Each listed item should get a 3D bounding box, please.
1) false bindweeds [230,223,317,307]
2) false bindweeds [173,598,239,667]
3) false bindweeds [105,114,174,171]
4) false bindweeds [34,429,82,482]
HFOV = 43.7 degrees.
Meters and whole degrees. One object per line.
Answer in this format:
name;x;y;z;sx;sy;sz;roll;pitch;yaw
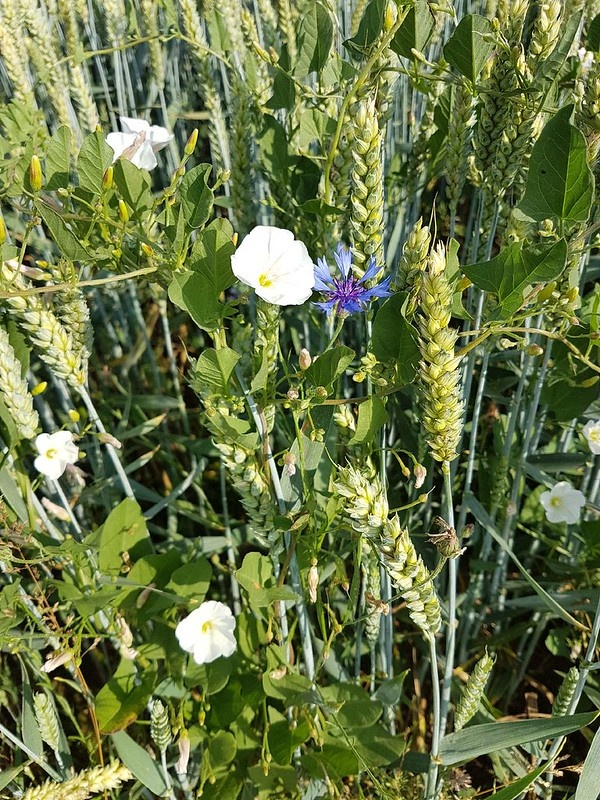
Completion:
false bindweeds;-0.042;-0.217;1.285;0.129;0.152;0.237;-1;33;1
false bindweeds;-0.184;0.430;1.424;0.121;0.120;0.058;23;-12;-23
false bindweeds;-0.324;-0.511;1.505;0.117;0.090;0.405;-9;33;-10
false bindweeds;-0.499;0.113;1.516;0.097;0.097;0.046;-32;12;-25
